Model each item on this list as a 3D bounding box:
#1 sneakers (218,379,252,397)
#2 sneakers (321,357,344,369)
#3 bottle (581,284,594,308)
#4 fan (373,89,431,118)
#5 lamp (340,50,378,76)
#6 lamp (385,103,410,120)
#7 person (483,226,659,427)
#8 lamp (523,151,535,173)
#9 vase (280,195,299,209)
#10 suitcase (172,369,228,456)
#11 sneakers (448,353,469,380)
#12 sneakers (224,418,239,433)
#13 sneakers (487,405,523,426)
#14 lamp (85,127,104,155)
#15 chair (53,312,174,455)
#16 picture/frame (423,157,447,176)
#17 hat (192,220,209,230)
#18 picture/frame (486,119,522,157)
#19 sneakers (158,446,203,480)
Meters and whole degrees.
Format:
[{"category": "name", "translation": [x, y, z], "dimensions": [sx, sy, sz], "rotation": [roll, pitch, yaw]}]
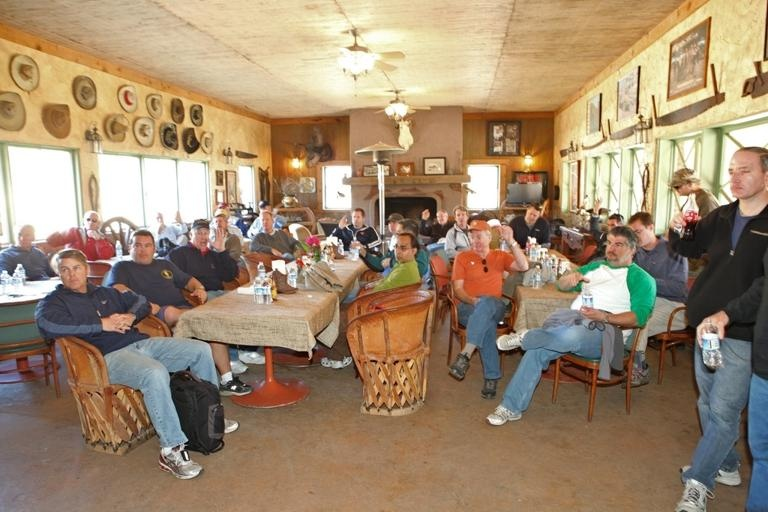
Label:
[{"category": "sneakers", "translation": [-1.566, 1.398, 5.685], "dimensions": [0.367, 0.150, 0.149], "rotation": [2, 3, 2]}, {"category": "sneakers", "translation": [-0.617, 1.281, 6.392], "dimensions": [0.195, 0.070, 0.122], "rotation": [-2, 10, 23]}, {"category": "bottle", "translation": [2.005, 0.388, 5.276], "dimensions": [0.098, 0.190, 0.262], "rotation": [-1, 9, 19]}, {"category": "fan", "translation": [0.436, -3.445, 11.958], "dimensions": [1.179, 0.527, 1.165], "rotation": [3, 14, 27]}, {"category": "lamp", "translation": [-0.363, -2.825, 7.736], "dimensions": [0.521, 0.387, 0.505], "rotation": [-3, 8, 5]}, {"category": "lamp", "translation": [0.219, -2.734, 10.174], "dimensions": [0.524, 0.225, 0.486], "rotation": [-6, 20, -20]}, {"category": "person", "translation": [1.906, 0.662, 5.285], "dimensions": [1.519, 1.833, 0.708], "rotation": [-7, 10, -20]}, {"category": "lamp", "translation": [3.957, -2.575, 14.564], "dimensions": [0.280, 0.507, 0.179], "rotation": [-4, 10, 0]}, {"category": "vase", "translation": [-2.569, -1.471, 14.495], "dimensions": [0.364, 0.334, 0.442], "rotation": [1, 6, 5]}, {"category": "suitcase", "translation": [-1.720, 1.437, 5.059], "dimensions": [0.477, 0.755, 0.556], "rotation": [-5, 3, -40]}, {"category": "sneakers", "translation": [0.811, 1.183, 5.606], "dimensions": [0.146, 0.339, 0.255], "rotation": [1, 10, 27]}, {"category": "sneakers", "translation": [-1.467, 1.639, 5.166], "dimensions": [0.207, 0.085, 0.076], "rotation": [1, 10, -6]}, {"category": "sneakers", "translation": [1.160, 1.558, 5.225], "dimensions": [0.375, 0.151, 0.148], "rotation": [1, 0, -12]}, {"category": "lamp", "translation": [-4.932, -1.990, 9.185], "dimensions": [0.210, 0.444, 0.325], "rotation": [-4, 9, -2]}, {"category": "chair", "translation": [-2.495, 1.237, 5.261], "dimensions": [0.973, 1.125, 1.061], "rotation": [-7, 3, 21]}, {"category": "picture/frame", "translation": [1.336, -2.305, 13.664], "dimensions": [0.609, 0.452, 0.049], "rotation": [0, -1, 3]}, {"category": "hat", "translation": [-2.288, -0.391, 6.701], "dimensions": [0.163, 0.082, 0.238], "rotation": [0, 3, -30]}, {"category": "picture/frame", "translation": [3.293, -3.242, 14.542], "dimensions": [1.134, 0.976, 0.144], "rotation": [0, 5, 0]}, {"category": "sneakers", "translation": [-1.778, 1.786, 4.699], "dimensions": [0.496, 0.220, 0.204], "rotation": [5, 6, 35]}]
